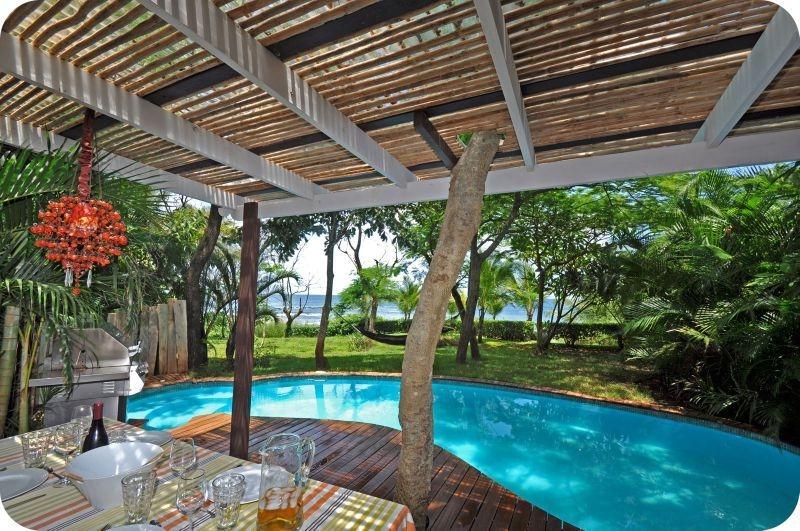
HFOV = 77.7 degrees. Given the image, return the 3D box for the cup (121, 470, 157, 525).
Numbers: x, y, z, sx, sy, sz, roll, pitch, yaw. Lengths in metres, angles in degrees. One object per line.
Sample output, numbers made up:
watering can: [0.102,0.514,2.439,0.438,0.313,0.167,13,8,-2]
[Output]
cup: [-1.278,1.153,2.465,0.115,0.262,0.145,3,6,40]

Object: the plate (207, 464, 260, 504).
plate: [-0.880,1.176,2.684,0.229,0.024,0.224,0,3,-21]

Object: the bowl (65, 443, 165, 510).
bowl: [-1.512,1.082,2.625,0.312,0.153,0.427,2,-2,30]

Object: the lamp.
lamp: [-2.058,-0.423,3.176,0.357,1.222,0.469,4,6,44]
